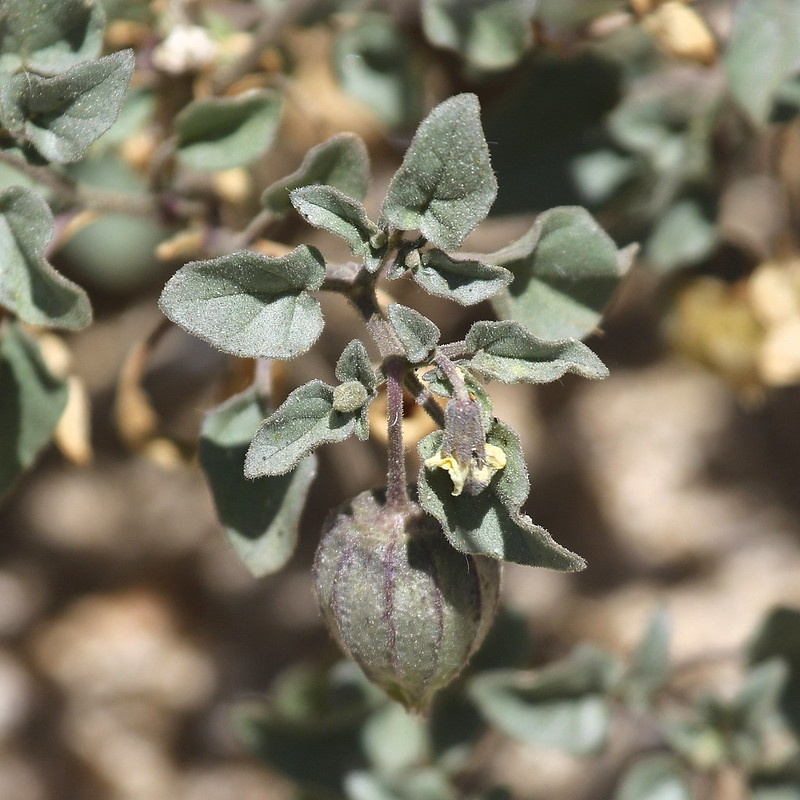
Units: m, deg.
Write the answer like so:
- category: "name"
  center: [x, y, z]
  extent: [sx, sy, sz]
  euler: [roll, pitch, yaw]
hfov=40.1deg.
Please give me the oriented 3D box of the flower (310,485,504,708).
- category: "flower"
  center: [0.004, 0.192, 1.131]
  extent: [0.233, 0.216, 0.222]
  euler: [-2, 89, -3]

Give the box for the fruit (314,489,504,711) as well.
- category: "fruit"
  center: [0.022, 0.220, 1.225]
  extent: [0.259, 0.232, 0.227]
  euler: [3, 95, 16]

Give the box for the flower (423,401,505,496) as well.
- category: "flower"
  center: [0.060, 0.049, 1.019]
  extent: [0.062, 0.071, 0.055]
  euler: [-33, 47, -30]
